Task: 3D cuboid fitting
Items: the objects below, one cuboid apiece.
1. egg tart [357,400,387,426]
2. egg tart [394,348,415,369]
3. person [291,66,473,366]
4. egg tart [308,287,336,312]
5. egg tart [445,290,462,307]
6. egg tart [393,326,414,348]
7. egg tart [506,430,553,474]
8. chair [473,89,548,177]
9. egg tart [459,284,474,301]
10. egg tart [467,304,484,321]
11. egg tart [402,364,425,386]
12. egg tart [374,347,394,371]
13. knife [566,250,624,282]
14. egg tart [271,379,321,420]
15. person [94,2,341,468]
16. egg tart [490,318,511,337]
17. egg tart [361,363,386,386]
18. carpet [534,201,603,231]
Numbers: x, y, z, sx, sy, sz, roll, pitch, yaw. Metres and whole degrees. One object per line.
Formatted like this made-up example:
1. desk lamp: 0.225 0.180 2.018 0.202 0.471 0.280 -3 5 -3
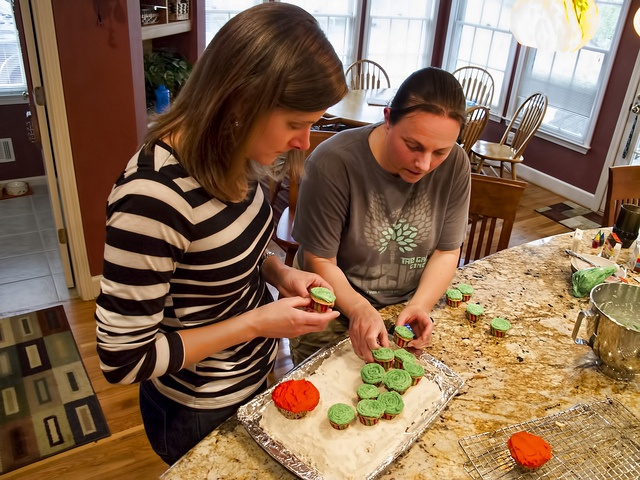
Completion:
1. egg tart: 0.139 0.456 1.085 0.064 0.044 0.063 -26 40 -34
2. egg tart: 0.269 0.359 1.257 0.048 0.034 0.054 1 18 -2
3. person: 0.204 -0.049 1.644 0.582 1.128 0.763 1 23 -7
4. egg tart: 0.012 0.180 1.247 0.068 0.052 0.072 16 16 -11
5. egg tart: 0.504 0.220 1.539 0.055 0.043 0.057 -1 17 -2
6. egg tart: 0.271 0.315 1.333 0.060 0.048 0.060 8 14 -11
7. egg tart: 0.523 0.528 1.027 0.099 0.033 0.115 8 21 15
8. chair: 2.114 -1.021 4.824 0.707 1.300 0.738 2 25 -4
9. egg tart: 0.560 0.197 1.562 0.057 0.050 0.059 -4 29 -1
10. egg tart: 0.559 0.261 1.473 0.052 0.038 0.055 -11 32 -16
11. egg tart: 0.283 0.393 1.217 0.055 0.038 0.055 -1 22 -4
12. egg tart: 0.197 0.362 1.257 0.059 0.055 0.064 -2 11 -2
13. knife: 1.166 0.088 1.789 0.218 0.102 0.213 -3 21 -2
14. egg tart: -0.064 0.426 1.109 0.119 0.042 0.113 17 28 18
15. person: -0.340 0.101 1.208 0.612 1.350 0.596 20 29 32
16. egg tart: 0.625 0.302 1.411 0.056 0.037 0.058 -1 35 1
17. egg tart: 0.159 0.396 1.213 0.055 0.039 0.057 0 38 1
18. carpet: 2.913 -0.269 4.679 0.690 0.106 0.626 -8 27 -27
